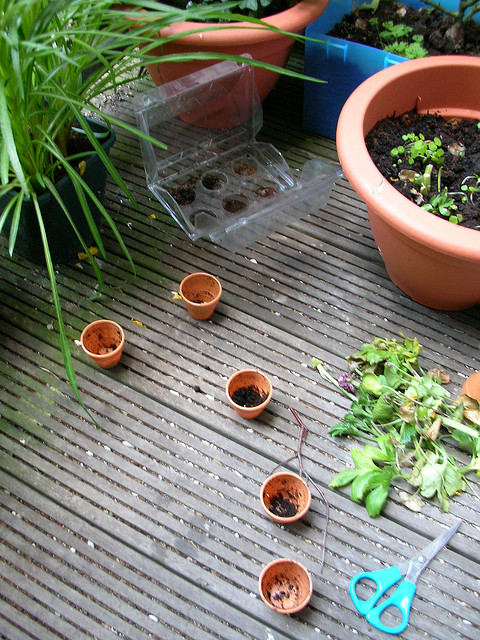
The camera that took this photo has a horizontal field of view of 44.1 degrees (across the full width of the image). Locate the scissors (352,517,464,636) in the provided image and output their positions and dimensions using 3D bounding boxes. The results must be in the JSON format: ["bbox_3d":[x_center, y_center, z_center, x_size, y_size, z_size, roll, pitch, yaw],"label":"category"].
[{"bbox_3d":[0.329,0.454,1.061,0.268,0.047,0.117,-25,50,-13],"label":"scissors"}]
